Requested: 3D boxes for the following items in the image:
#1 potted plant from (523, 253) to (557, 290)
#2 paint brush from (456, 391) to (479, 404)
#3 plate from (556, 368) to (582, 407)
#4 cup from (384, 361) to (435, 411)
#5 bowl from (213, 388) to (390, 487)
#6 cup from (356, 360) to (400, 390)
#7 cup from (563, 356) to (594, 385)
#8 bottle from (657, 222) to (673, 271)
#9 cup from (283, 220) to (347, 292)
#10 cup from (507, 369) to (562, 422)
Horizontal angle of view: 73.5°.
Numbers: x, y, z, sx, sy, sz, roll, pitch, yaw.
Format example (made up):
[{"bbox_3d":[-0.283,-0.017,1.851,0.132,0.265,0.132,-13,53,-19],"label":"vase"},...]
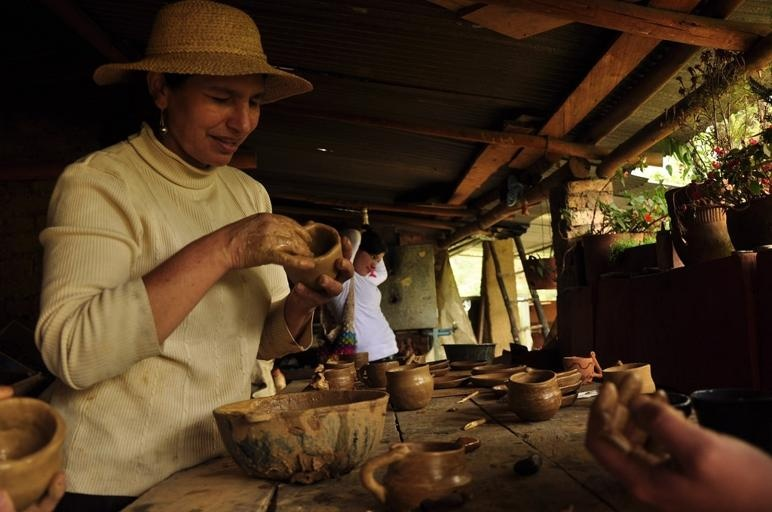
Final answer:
[{"bbox_3d":[2.267,0.259,7.603,0.647,0.416,0.527,-1,0,38],"label":"potted plant"},{"bbox_3d":[0.460,0.803,2.926,0.029,0.021,0.221,-21,-9,37],"label":"paint brush"},{"bbox_3d":[0.883,0.650,2.525,0.146,0.114,0.183,-2,3,12],"label":"plate"},{"bbox_3d":[0.113,0.688,2.749,0.271,0.180,0.250,-2,-7,0],"label":"cup"},{"bbox_3d":[-0.313,0.657,1.876,0.463,0.167,0.434,-5,-7,-1],"label":"bowl"},{"bbox_3d":[-0.057,0.761,3.353,0.308,0.172,0.211,-1,-6,4],"label":"cup"},{"bbox_3d":[1.146,0.665,3.064,0.223,0.168,0.198,-6,-8,27],"label":"cup"},{"bbox_3d":[1.931,-0.039,3.613,0.112,0.302,0.325,-10,-10,26],"label":"bottle"},{"bbox_3d":[-0.265,0.026,2.291,0.273,0.302,0.237,-3,-48,4],"label":"cup"},{"bbox_3d":[0.654,0.634,2.405,0.268,0.169,0.238,-11,-2,-25],"label":"cup"}]
